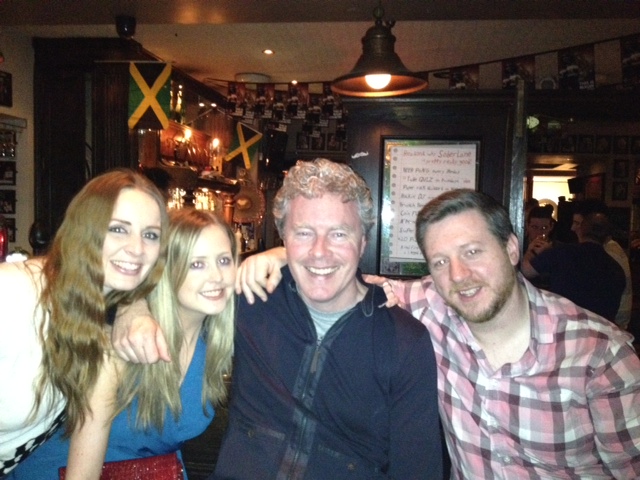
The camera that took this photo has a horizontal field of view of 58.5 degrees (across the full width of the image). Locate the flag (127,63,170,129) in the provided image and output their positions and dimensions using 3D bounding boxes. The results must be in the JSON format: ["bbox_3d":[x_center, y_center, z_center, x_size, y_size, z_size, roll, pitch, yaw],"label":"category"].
[{"bbox_3d":[-2.018,-1.708,6.719,0.467,0.783,0.249,2,5,-12],"label":"flag"}]

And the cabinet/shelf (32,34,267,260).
[{"bbox_3d":[-2.176,-1.370,7.052,1.552,2.967,3.065,-1,2,5],"label":"cabinet/shelf"}]

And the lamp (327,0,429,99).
[{"bbox_3d":[0.484,-1.683,5.179,0.749,0.847,0.778,0,-4,-4],"label":"lamp"}]
